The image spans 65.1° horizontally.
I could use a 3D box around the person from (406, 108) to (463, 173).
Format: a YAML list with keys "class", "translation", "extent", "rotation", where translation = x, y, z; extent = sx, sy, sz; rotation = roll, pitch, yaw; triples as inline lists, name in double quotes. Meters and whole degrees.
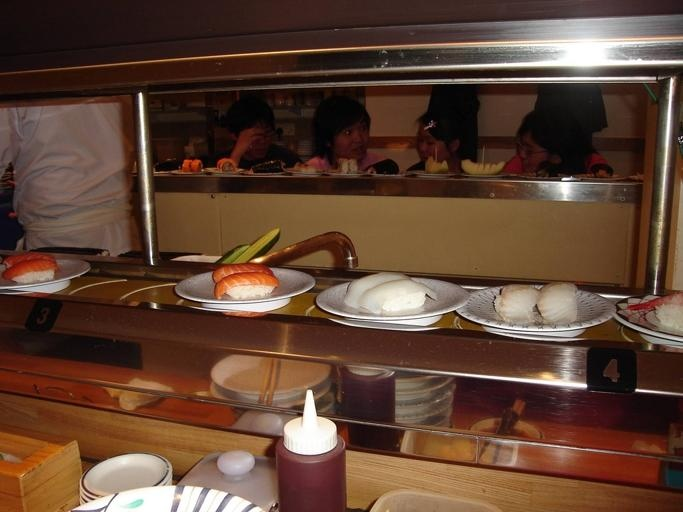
- class: "person"
  translation: [0.722, -0.905, 4.172]
  extent: [0.317, 0.477, 0.770]
  rotation: [5, 12, 29]

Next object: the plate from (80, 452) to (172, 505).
- class: "plate"
  translation: [-0.322, 0.329, 0.790]
  extent: [0.095, 0.034, 0.092]
  rotation: [4, 14, 13]

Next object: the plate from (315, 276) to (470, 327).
- class: "plate"
  translation: [0.074, 0.066, 0.792]
  extent: [0.225, 0.029, 0.179]
  rotation: [-2, 10, -6]

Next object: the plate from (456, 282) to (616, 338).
- class: "plate"
  translation: [0.277, 0.075, 0.760]
  extent: [0.209, 0.036, 0.182]
  rotation: [3, 11, 20]

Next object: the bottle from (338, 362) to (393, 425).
- class: "bottle"
  translation: [0.023, 0.184, 0.752]
  extent: [0.090, 0.077, 0.082]
  rotation: [0, 0, -5]

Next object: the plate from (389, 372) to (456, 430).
- class: "plate"
  translation: [0.105, 0.177, 0.707]
  extent: [0.081, 0.071, 0.077]
  rotation: [-3, 9, 5]

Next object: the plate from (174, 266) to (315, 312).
- class: "plate"
  translation: [-0.156, 0.054, 0.863]
  extent: [0.217, 0.033, 0.173]
  rotation: [-3, 11, -10]

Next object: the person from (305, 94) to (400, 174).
- class: "person"
  translation: [0.099, -0.959, 4.102]
  extent: [1.057, 0.646, 0.588]
  rotation: [-5, 13, -15]

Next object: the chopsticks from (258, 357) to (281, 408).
- class: "chopsticks"
  translation: [-0.099, 0.176, 0.749]
  extent: [0.022, 0.082, 0.023]
  rotation: [5, 14, -37]
